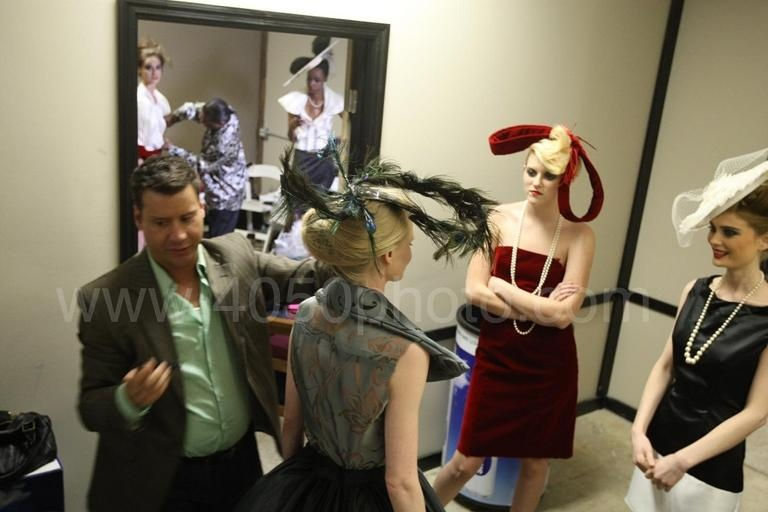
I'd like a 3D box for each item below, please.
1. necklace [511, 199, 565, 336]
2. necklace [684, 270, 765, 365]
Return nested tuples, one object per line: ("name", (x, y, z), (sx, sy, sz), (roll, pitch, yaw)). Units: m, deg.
("necklace", (0.821, 0.079, 3.274), (0.250, 0.655, 0.303), (8, 17, 16))
("necklace", (1.613, 0.310, 2.871), (0.184, 0.578, 0.062), (18, -19, 44))
